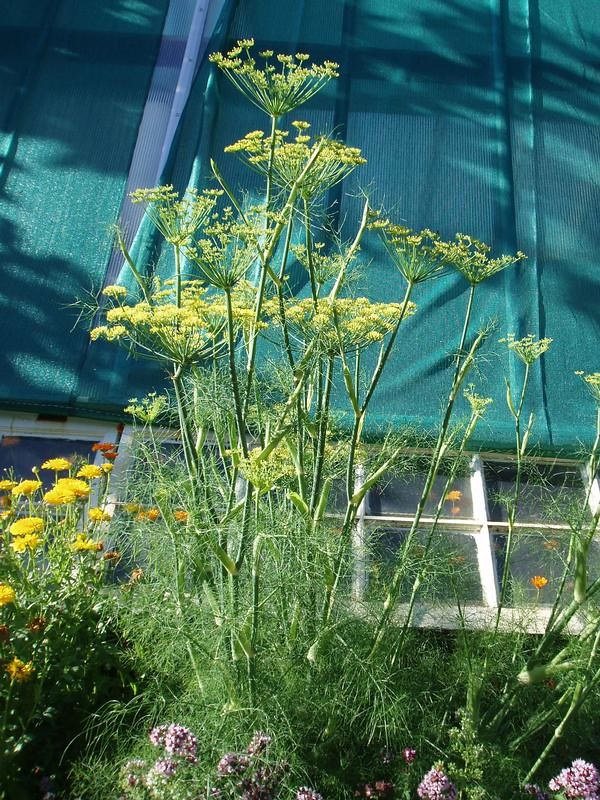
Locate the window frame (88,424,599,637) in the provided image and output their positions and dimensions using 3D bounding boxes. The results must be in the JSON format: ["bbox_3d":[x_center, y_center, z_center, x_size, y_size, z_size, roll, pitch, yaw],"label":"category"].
[{"bbox_3d":[0.110,0.304,1.624,0.811,0.034,0.448,8,46,7],"label":"window frame"}]

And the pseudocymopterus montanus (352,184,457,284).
[{"bbox_3d":[0.218,-0.293,1.432,0.172,0.129,0.246,10,9,10],"label":"pseudocymopterus montanus"}]

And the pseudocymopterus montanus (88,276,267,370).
[{"bbox_3d":[-0.282,-0.166,1.614,0.330,0.209,0.361,0,13,4],"label":"pseudocymopterus montanus"}]
